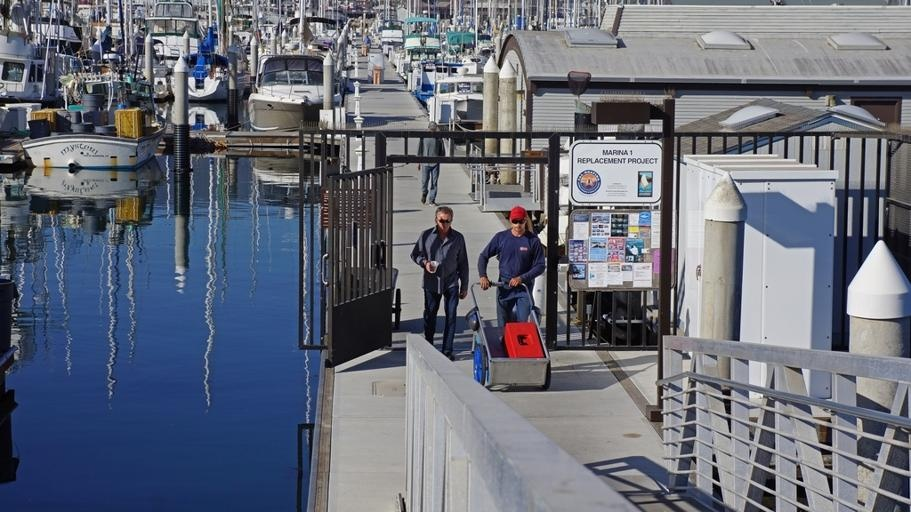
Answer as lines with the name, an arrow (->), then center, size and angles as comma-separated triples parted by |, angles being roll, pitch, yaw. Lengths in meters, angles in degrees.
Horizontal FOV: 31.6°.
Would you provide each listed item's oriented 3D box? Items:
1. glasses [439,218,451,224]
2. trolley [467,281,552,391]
glasses -> -0.214, -0.853, 39.944 | 0.223, 0.122, 0.096 | -1, 6, 0
trolley -> 1.307, 1.965, 40.167 | 1.928, 1.678, 3.169 | 2, 27, -10
